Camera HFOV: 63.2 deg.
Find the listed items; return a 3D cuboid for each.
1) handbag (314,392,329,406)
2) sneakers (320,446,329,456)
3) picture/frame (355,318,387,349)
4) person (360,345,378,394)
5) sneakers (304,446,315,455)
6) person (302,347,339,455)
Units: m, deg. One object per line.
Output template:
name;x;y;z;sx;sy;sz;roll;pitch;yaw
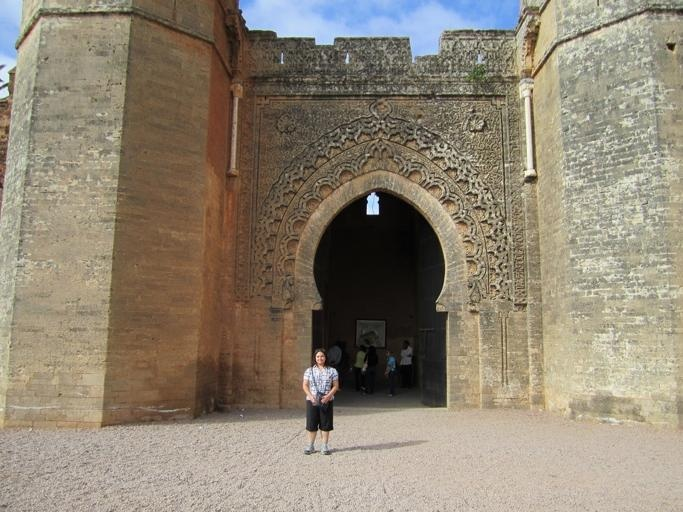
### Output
handbag;-0.226;1.635;6.396;0.130;0.129;0.043;0;-2;-4
sneakers;-0.177;2.220;6.442;0.097;0.109;0.186;0;-3;-4
picture/frame;0.835;2.135;15.200;0.725;0.743;0.077;1;-22;-2
person;0.656;2.590;12.669;0.280;1.041;0.839;0;-2;1
sneakers;-0.362;2.228;6.452;0.125;0.091;0.136;0;-3;-4
person;-0.244;1.701;6.662;0.390;1.218;0.595;0;-2;-4
